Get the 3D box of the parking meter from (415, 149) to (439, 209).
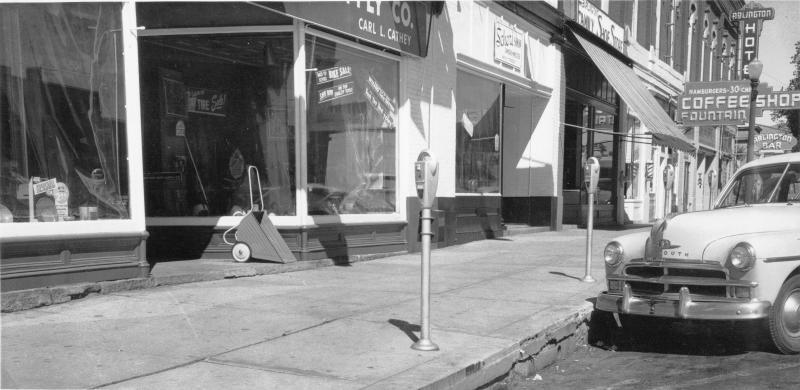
[{"bbox_3d":[0.528,-0.288,12.859,0.439,1.130,0.209,-3,2,-2],"label":"parking meter"}]
